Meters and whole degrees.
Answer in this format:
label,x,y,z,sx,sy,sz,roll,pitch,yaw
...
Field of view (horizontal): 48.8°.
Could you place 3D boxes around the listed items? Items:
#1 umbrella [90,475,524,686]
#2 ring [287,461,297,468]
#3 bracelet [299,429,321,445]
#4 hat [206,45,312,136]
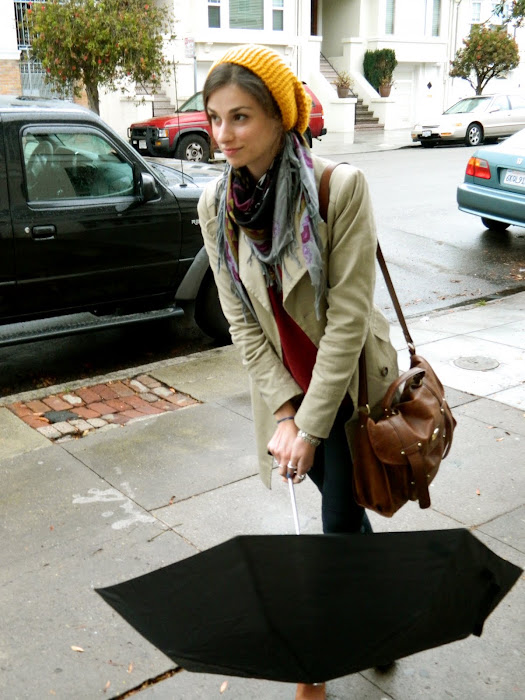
label,x,y,z,sx,sy,sz,roll,pitch,yaw
umbrella,0.103,0.455,1.032,0.467,0.161,0.433,1,-24,11
ring,0.070,0.273,1.382,0.018,0.022,0.019,2,-7,0
bracelet,0.112,0.204,1.356,0.042,0.015,0.036,21,-1,1
hat,0.001,-0.591,1.324,0.236,0.190,0.164,-3,17,-9
